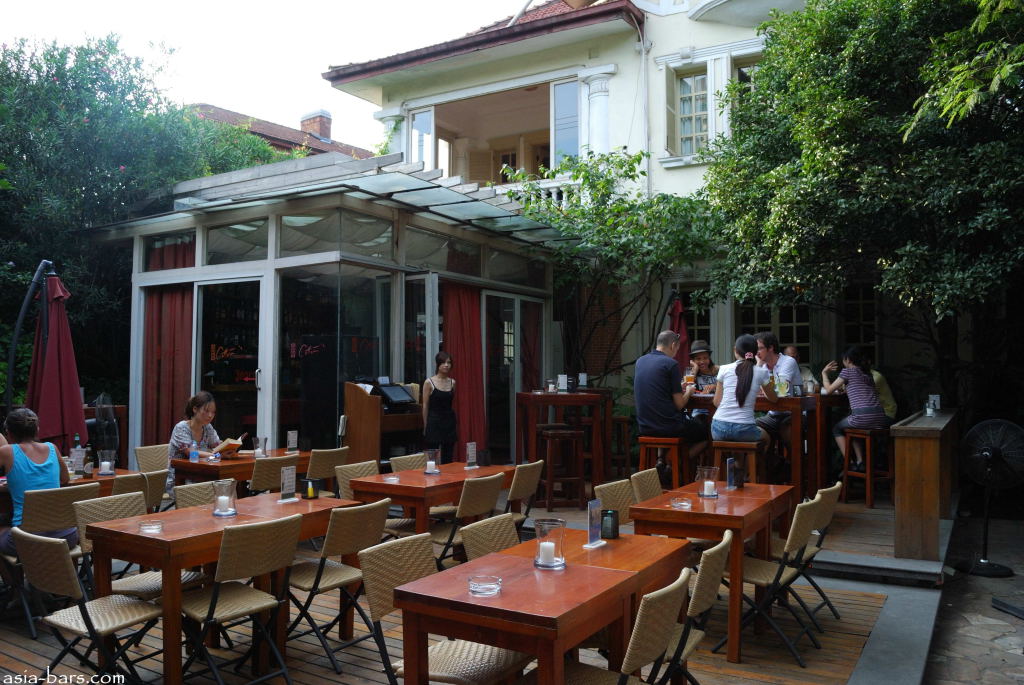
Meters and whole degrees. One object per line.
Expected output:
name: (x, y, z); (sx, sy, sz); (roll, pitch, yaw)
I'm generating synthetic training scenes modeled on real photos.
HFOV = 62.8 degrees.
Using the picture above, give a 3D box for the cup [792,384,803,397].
cup: (3.640, 0.606, 10.647); (0.111, 0.118, 0.209); (2, 12, 24)

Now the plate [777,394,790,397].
plate: (3.309, 0.639, 10.107); (0.125, 0.038, 0.432); (-3, -3, 23)

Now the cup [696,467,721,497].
cup: (1.857, 1.317, 7.993); (0.221, 0.320, 0.249); (-2, -4, 26)

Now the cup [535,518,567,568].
cup: (0.296, 1.546, 6.501); (0.233, 0.356, 0.272); (-1, -2, 1)

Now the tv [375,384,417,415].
tv: (-1.574, 0.749, 11.452); (0.364, 0.472, 0.510); (-20, -13, 33)

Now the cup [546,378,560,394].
cup: (0.597, 0.624, 11.949); (0.223, 0.223, 0.141); (-2, -3, 2)

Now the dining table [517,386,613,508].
dining table: (0.772, 1.434, 12.235); (1.450, 2.000, 1.484); (1, -3, -9)
